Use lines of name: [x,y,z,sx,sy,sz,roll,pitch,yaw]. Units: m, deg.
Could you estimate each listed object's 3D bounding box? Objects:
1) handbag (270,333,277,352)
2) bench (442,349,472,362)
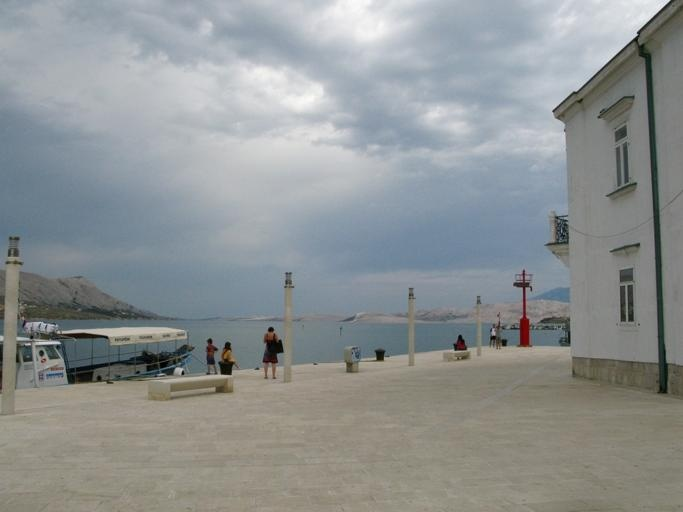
handbag: [-2.408,3.077,26.750,0.267,0.637,0.351,-2,-9,-7]
bench: [5.585,4.745,36.025,0.844,0.517,1.797,-11,-13,42]
